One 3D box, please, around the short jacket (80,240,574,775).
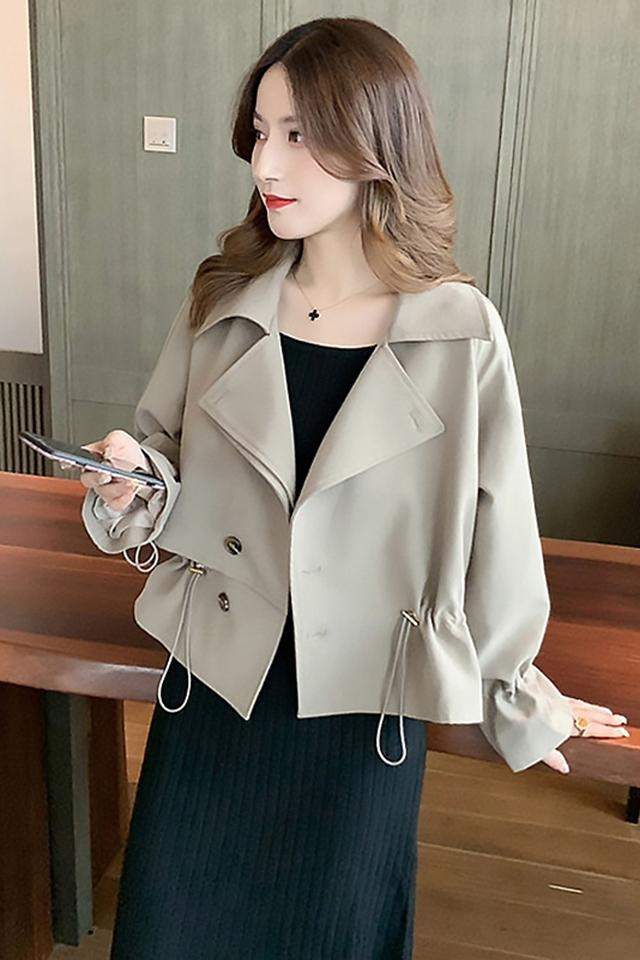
[{"bbox_3d":[0.009,0.036,0.929,0.558,0.506,0.261,16,25,28],"label":"short jacket"}]
